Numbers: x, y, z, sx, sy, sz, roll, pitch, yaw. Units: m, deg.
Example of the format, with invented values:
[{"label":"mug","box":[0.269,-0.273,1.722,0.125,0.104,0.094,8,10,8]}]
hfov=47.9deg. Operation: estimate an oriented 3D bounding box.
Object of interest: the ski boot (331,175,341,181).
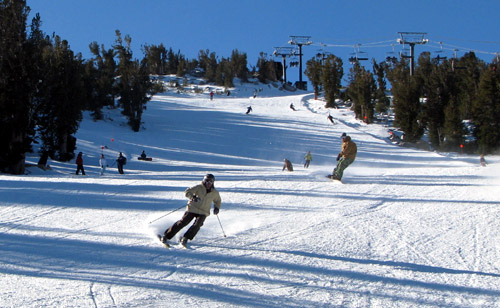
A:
[{"label":"ski boot","box":[5.480,1.500,35.733,0.618,0.394,0.193,2,5,22]}]

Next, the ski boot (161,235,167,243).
[{"label":"ski boot","box":[-4.222,4.141,27.506,0.180,0.292,0.070,2,-5,11]}]

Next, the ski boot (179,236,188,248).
[{"label":"ski boot","box":[-3.240,4.257,27.431,0.433,0.495,0.202,-1,4,-5]}]

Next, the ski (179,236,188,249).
[{"label":"ski","box":[-3.253,4.286,27.526,0.226,0.683,0.261,-34,6,-1]}]

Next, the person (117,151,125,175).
[{"label":"person","box":[-10.414,0.688,45.304,0.546,1.654,2.491,-1,5,-13]}]

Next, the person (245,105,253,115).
[{"label":"person","box":[-0.150,-5.992,76.661,0.548,1.099,1.445,7,-40,-35]}]
